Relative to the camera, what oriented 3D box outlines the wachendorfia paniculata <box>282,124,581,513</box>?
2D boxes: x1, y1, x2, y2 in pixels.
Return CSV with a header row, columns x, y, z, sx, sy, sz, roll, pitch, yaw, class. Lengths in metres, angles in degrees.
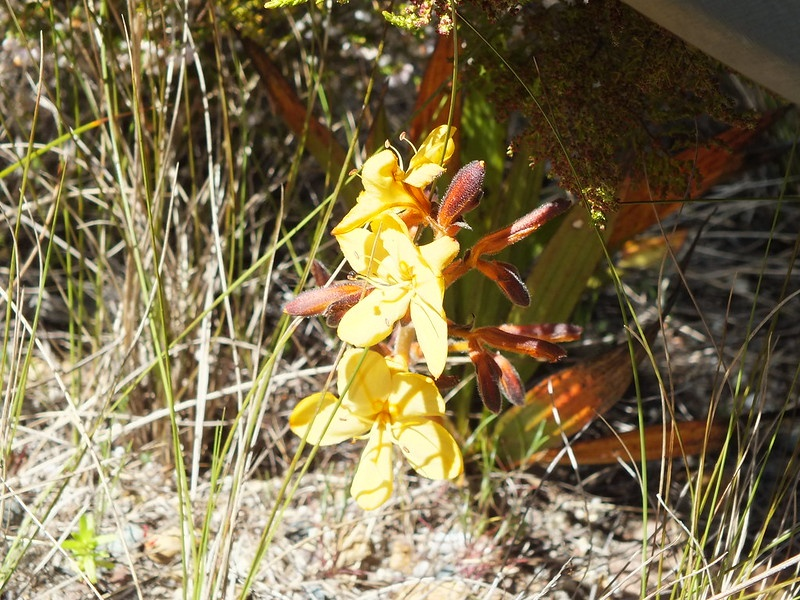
x,y,z,sx,sy,sz,roll,pitch,yaw,class
-0.014,-0.088,1.982,0.667,1.005,0.680,-4,17,-44,wachendorfia paniculata
